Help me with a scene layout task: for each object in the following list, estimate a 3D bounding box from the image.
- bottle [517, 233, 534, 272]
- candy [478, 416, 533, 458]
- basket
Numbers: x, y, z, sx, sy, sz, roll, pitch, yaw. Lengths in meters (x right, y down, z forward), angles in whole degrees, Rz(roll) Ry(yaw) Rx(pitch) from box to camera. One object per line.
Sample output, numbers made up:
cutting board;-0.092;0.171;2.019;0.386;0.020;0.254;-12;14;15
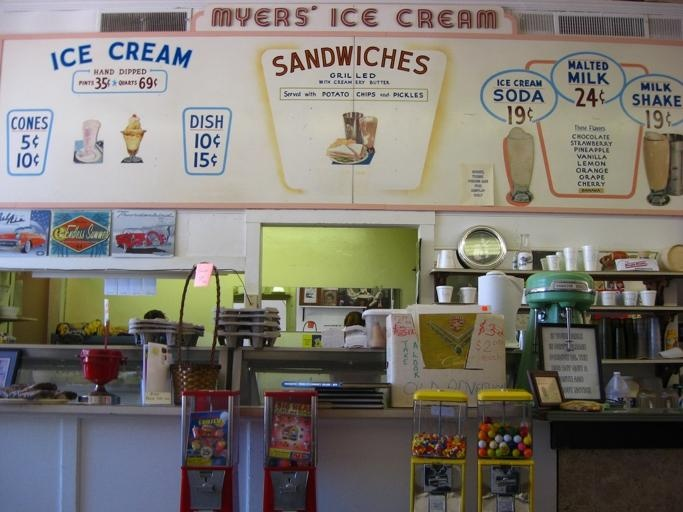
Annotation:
bottle;1.534;-0.039;6.229;0.137;0.333;0.258;-1;-7;15
candy;0.826;0.920;3.768;0.250;0.199;0.107;2;-8;-12
basket;-0.850;0.426;4.417;0.285;0.858;1.079;2;-7;-11
